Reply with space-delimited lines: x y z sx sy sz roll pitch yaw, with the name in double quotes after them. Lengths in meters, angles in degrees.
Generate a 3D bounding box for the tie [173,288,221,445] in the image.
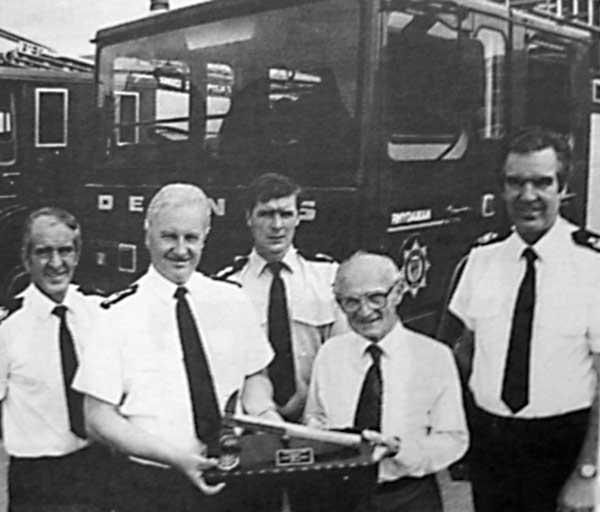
-0.486 0.558 4.598 0.170 0.811 0.124 -15 2 -7 "tie"
